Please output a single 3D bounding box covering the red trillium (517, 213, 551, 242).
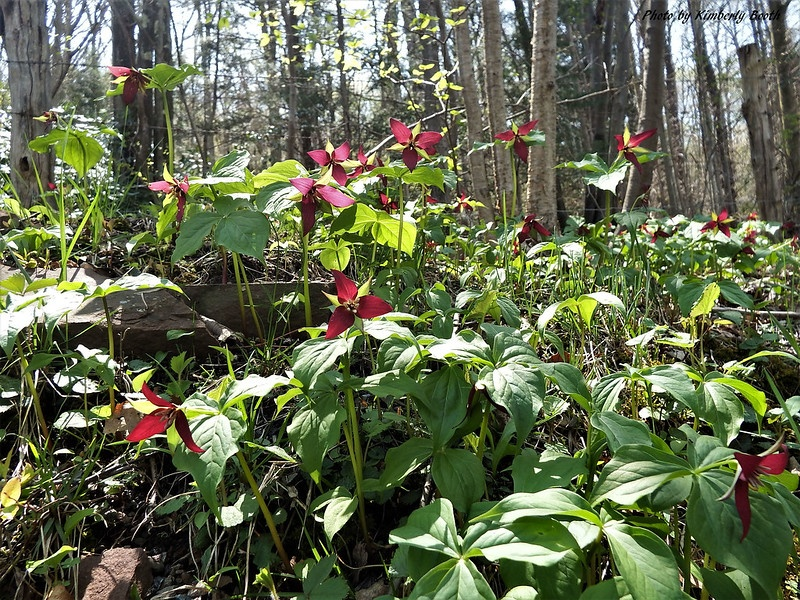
[{"bbox_3d":[0.990,-0.531,4.755,0.222,0.225,0.316,1,3,24],"label":"red trillium"}]

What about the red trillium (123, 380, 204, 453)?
[{"bbox_3d":[-1.085,0.546,2.978,0.388,0.318,0.098,0,2,4],"label":"red trillium"}]

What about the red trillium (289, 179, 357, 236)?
[{"bbox_3d":[-0.442,-0.519,3.287,0.282,0.110,0.244,22,7,29],"label":"red trillium"}]

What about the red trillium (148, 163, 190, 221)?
[{"bbox_3d":[-1.368,-0.634,3.842,0.215,0.340,0.361,-1,3,-22],"label":"red trillium"}]

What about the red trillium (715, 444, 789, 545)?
[{"bbox_3d":[1.417,0.699,2.691,0.218,0.145,0.421,5,50,7],"label":"red trillium"}]

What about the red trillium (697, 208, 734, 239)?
[{"bbox_3d":[2.416,-0.576,4.936,0.199,0.206,0.406,1,3,30],"label":"red trillium"}]
